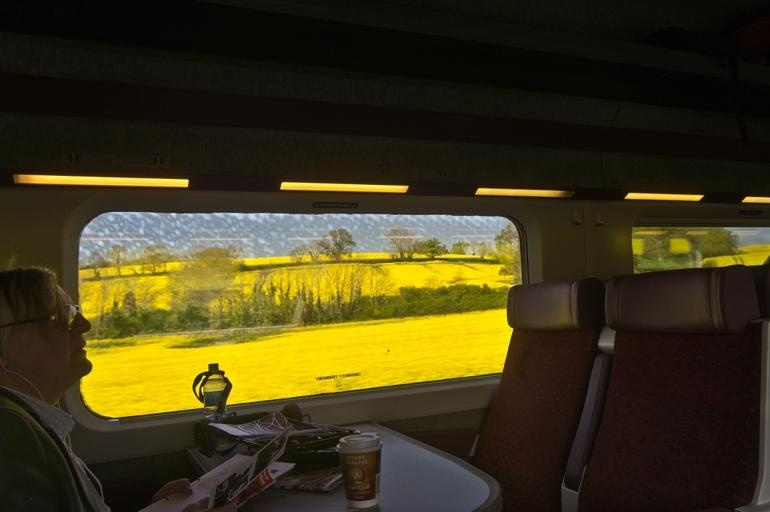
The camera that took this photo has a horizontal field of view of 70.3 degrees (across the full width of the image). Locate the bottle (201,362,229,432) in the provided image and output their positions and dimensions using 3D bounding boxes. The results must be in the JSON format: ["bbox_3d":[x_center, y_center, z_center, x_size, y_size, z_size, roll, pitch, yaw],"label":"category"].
[{"bbox_3d":[-1.029,0.800,3.298,0.179,0.270,0.426,-4,2,-20],"label":"bottle"}]

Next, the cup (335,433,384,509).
[{"bbox_3d":[-0.100,0.881,2.267,0.167,0.316,0.188,-4,2,-5],"label":"cup"}]
